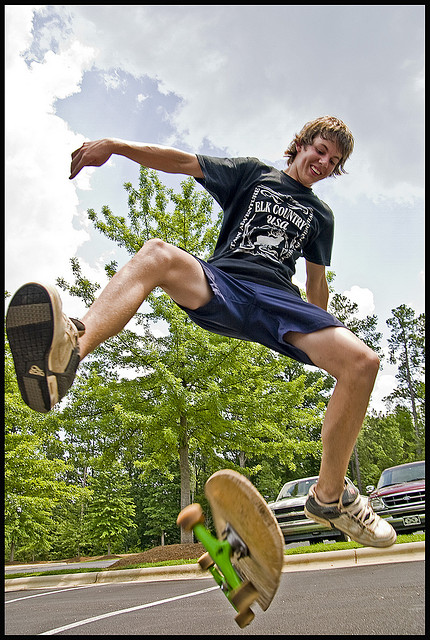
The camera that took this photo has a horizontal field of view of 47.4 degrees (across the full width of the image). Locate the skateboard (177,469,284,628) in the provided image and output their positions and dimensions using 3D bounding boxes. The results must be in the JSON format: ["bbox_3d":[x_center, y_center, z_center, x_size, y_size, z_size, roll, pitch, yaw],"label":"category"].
[{"bbox_3d":[0.087,0.698,1.573,0.296,0.630,0.472,-2,-6,9],"label":"skateboard"}]
